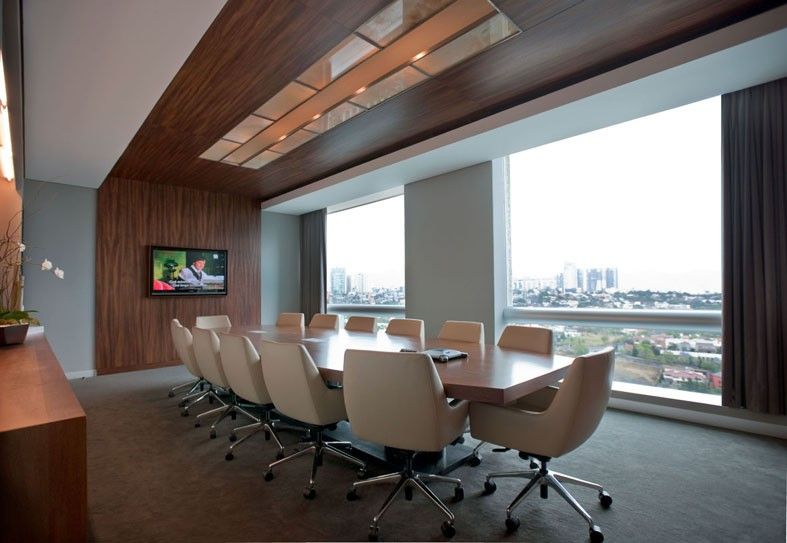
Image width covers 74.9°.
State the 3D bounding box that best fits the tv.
[{"bbox_3d":[-3.565,-0.022,8.754,0.961,0.625,0.047,1,-3,-38],"label":"tv"}]
